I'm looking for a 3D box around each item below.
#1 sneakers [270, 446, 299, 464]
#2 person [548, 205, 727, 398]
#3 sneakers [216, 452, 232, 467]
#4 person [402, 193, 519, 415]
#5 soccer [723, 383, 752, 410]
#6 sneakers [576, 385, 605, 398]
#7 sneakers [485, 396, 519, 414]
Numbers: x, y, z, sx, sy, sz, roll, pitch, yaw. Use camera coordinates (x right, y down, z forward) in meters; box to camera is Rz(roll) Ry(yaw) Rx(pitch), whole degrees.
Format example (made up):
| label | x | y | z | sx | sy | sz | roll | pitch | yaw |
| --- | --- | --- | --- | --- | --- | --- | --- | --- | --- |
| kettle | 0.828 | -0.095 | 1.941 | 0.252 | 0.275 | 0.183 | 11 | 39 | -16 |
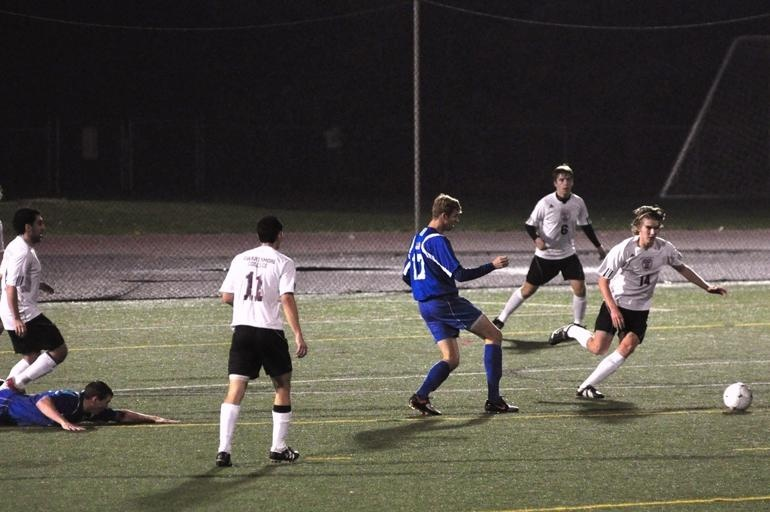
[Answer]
| label | x | y | z | sx | sy | sz | roll | pitch | yaw |
| --- | --- | --- | --- | --- | --- | --- | --- | --- | --- |
| sneakers | -1.599 | 3.165 | 20.635 | 0.577 | 0.217 | 0.182 | -3 | 19 | -10 |
| person | 4.307 | 0.790 | 22.591 | 1.622 | 3.332 | 1.067 | 4 | 11 | 6 |
| sneakers | -2.550 | 3.223 | 20.553 | 0.156 | 0.137 | 0.340 | 2 | 1 | 4 |
| person | 1.171 | 0.833 | 22.005 | 1.767 | 3.683 | 0.998 | 3 | 11 | -1 |
| soccer | 6.069 | 2.417 | 22.083 | 0.565 | 0.418 | 0.457 | 0 | -22 | 21 |
| sneakers | 3.545 | 2.366 | 22.542 | 0.547 | 0.178 | 0.187 | 1 | 4 | 6 |
| sneakers | 2.077 | 2.549 | 22.124 | 0.709 | 0.239 | 0.221 | 0 | 4 | -4 |
